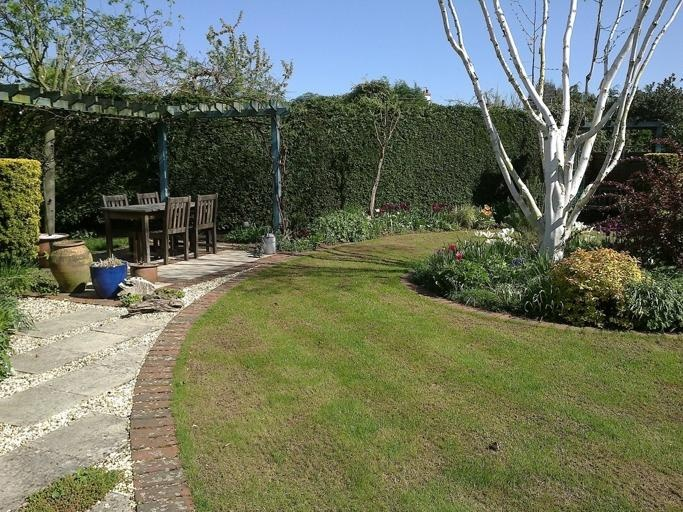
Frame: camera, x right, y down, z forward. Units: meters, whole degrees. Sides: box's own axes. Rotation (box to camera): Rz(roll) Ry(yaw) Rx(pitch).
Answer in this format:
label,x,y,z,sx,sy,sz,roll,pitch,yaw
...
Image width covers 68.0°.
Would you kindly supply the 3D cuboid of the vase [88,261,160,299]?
label,x,y,z,sx,sy,sz,roll,pitch,yaw
vase,-3.027,0.324,7.038,0.826,0.401,0.528,3,-4,-12
